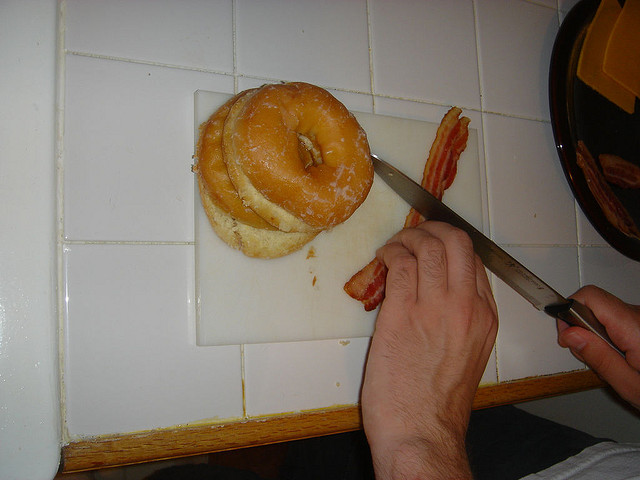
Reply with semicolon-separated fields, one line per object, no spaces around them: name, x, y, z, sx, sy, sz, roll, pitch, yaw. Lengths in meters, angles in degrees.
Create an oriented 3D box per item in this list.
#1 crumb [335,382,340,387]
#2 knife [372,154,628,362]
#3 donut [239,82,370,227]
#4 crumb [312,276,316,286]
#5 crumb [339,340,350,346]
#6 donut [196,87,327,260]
crumb;0.036;0.294;1.262;0.008;0.002;0.009;2;89;-1
knife;0.358;0.037;1.262;0.628;0.052;0.093;43;59;-18
donut;-0.024;-0.165;1.116;0.270;0.068;0.214;34;89;0
crumb;-0.012;0.082;1.241;0.008;0.003;0.015;17;89;-18
crumb;0.049;0.209;1.268;0.020;0.003;0.013;-3;93;-16
donut;-0.149;-0.140;1.163;0.255;0.096;0.318;14;87;-18
